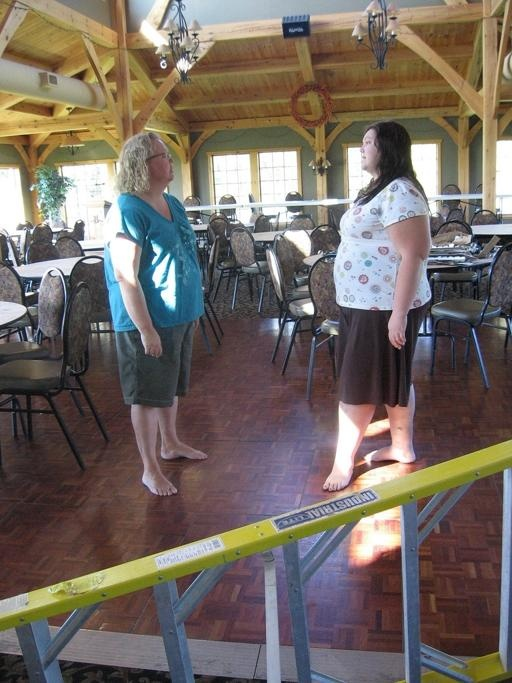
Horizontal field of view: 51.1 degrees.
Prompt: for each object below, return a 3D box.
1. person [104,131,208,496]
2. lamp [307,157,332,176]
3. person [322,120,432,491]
[{"bbox_3d":[-0.378,-0.080,2.197,0.396,1.489,0.308,-8,12,-20],"label":"person"},{"bbox_3d":[1.631,-4.448,13.543,0.749,0.595,0.402,-1,0,0],"label":"lamp"},{"bbox_3d":[0.488,-0.102,2.152,0.453,1.448,0.447,2,13,28],"label":"person"}]
